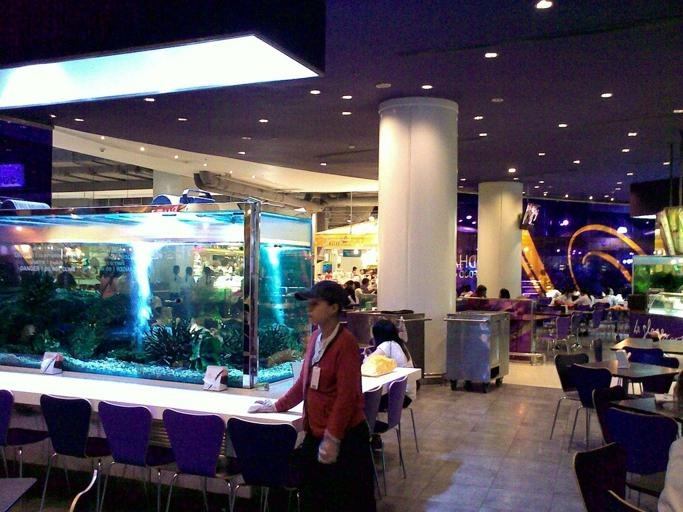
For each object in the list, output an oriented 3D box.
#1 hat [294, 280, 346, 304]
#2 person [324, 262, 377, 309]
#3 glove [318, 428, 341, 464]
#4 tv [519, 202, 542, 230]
[{"bbox_3d":[-0.116,0.228,3.359,0.239,0.124,0.163,17,-10,-5],"label":"hat"},{"bbox_3d":[0.320,0.678,14.375,0.658,0.846,1.221,-2,1,-22],"label":"person"},{"bbox_3d":[-0.076,1.104,3.078,0.124,0.188,0.067,1,1,-2],"label":"glove"},{"bbox_3d":[4.952,-1.081,14.124,0.371,0.689,0.696,1,1,19],"label":"tv"}]
